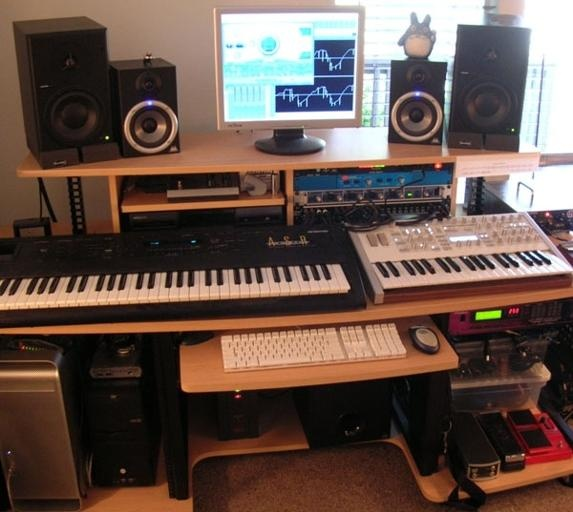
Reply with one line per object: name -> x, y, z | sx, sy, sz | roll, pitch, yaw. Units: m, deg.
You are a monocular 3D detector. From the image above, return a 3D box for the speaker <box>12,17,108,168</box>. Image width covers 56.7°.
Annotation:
speaker -> -0.793, -0.589, 1.901 | 0.308, 0.479, 0.275 | -14, 24, -27

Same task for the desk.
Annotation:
desk -> 0.047, 0.564, 2.520 | 2.222, 1.416, 1.333 | -4, 36, -5

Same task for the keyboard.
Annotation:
keyboard -> 0.086, 0.293, 1.742 | 0.592, 0.072, 0.151 | -5, 21, -6

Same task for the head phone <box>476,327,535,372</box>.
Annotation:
head phone -> 0.881, 0.377, 2.095 | 0.185, 0.168, 0.044 | -15, 10, -8

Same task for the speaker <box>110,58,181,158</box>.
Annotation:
speaker -> -0.521, -0.533, 1.922 | 0.255, 0.429, 0.242 | -7, 31, -15

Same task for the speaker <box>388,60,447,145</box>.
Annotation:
speaker -> 0.505, -0.598, 2.035 | 0.271, 0.387, 0.209 | 1, 24, 4

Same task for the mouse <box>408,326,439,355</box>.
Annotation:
mouse -> 0.466, 0.274, 1.788 | 0.095, 0.049, 0.133 | -2, 21, 1
